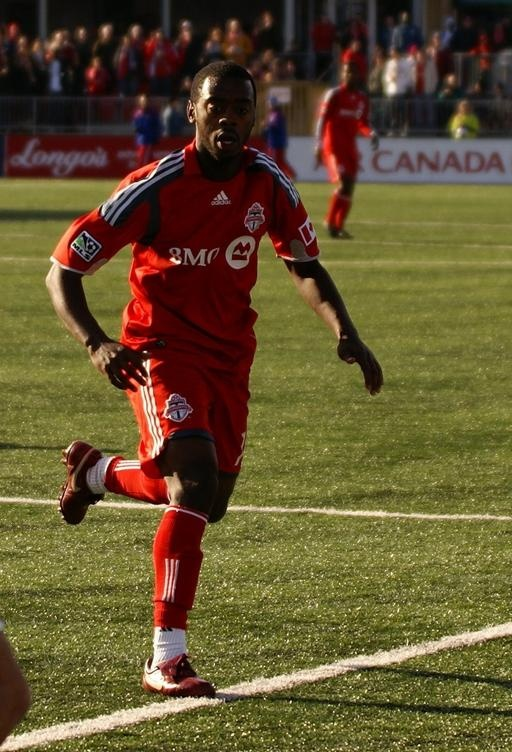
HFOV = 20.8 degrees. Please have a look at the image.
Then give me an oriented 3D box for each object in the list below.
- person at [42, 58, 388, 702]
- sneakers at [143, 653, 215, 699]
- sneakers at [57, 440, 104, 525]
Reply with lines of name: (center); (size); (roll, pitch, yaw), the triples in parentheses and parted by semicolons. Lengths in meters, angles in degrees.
person: (-0.178, -0.084, 3.542); (0.927, 1.425, 1.274); (1, 10, 4)
sneakers: (-0.177, 0.669, 3.116); (0.076, 0.062, 0.164); (8, -11, -43)
sneakers: (-0.532, 0.319, 4.217); (0.140, 0.268, 0.103); (22, 26, 22)
